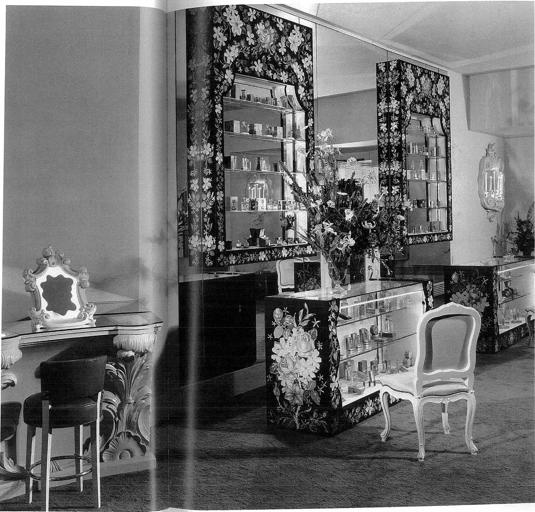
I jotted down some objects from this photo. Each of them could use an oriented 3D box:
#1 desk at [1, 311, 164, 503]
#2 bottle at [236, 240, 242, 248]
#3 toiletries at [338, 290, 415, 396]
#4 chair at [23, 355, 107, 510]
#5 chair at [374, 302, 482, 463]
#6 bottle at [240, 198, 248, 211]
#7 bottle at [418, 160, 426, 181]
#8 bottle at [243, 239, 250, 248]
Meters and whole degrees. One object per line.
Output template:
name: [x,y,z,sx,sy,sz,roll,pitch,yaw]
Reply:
desk: [-0.883,0.699,2.889,0.750,0.836,0.334,-2,5,-42]
bottle: [-0.164,-0.060,3.550,0.021,0.041,0.037,3,9,20]
toiletries: [0.606,0.500,3.588,0.181,0.558,0.519,1,4,37]
chair: [-0.902,0.816,2.807,0.357,0.719,0.223,-4,3,-27]
chair: [0.817,0.595,3.195,0.413,0.825,0.485,-1,7,5]
bottle: [-0.128,-0.282,3.519,0.052,0.094,0.057,0,4,0]
bottle: [0.821,-0.454,3.344,0.038,0.106,0.011,-2,3,8]
bottle: [-0.124,-0.054,3.583,0.039,0.045,0.025,-3,4,-37]
